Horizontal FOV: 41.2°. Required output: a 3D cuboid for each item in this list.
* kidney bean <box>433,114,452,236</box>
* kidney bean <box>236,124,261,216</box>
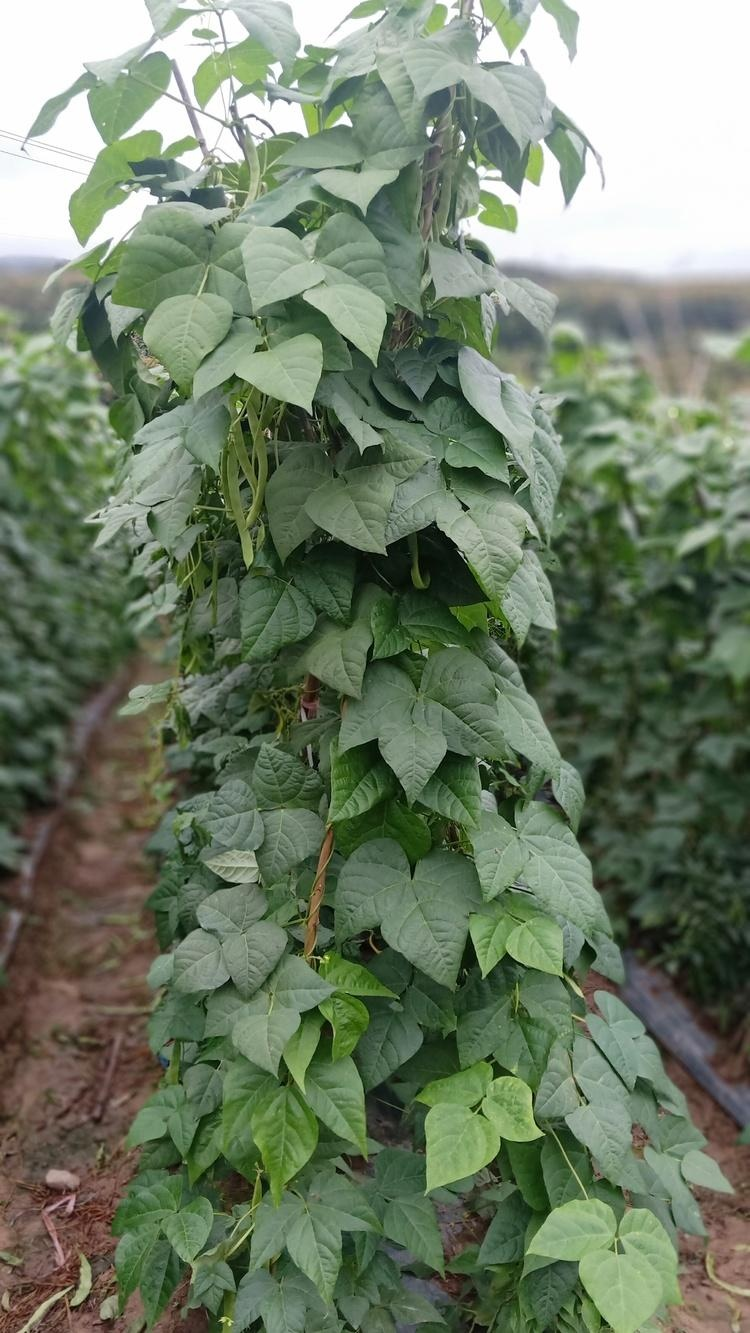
[{"bbox_3d":[0.097,-0.692,1.423,0.023,0.154,0.046,8,12,13],"label":"kidney bean"},{"bbox_3d":[-0.184,-0.736,1.474,0.022,0.101,0.034,1,12,16],"label":"kidney bean"}]
